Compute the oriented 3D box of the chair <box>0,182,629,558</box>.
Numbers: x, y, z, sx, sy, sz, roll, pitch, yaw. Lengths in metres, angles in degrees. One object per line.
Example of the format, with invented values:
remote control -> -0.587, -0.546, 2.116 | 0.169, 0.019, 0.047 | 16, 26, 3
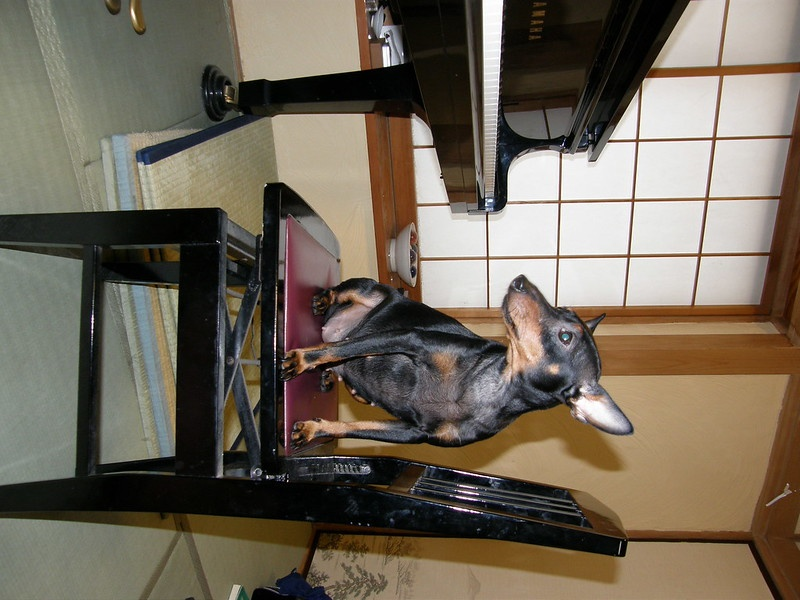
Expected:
chair -> -0.338, 0.076, 1.901 | 1.699, 0.970, 0.809 | -1, -63, 3
